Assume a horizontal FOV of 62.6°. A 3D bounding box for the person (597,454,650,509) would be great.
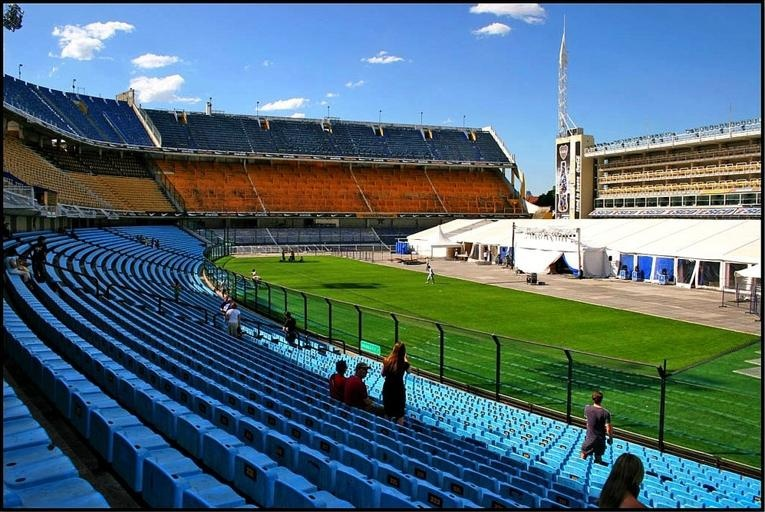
[{"bbox_3d":[2.875,2.711,7.564,0.511,0.687,0.204,-1,3,19],"label":"person"}]
